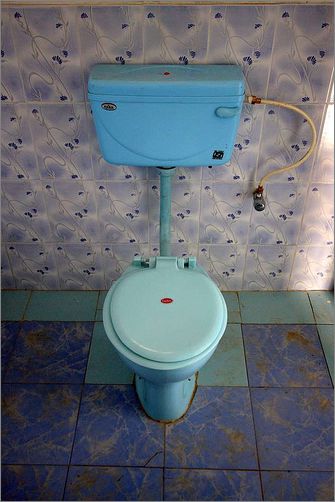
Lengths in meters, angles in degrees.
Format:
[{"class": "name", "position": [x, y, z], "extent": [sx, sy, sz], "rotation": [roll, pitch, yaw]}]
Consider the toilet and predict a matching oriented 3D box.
[{"class": "toilet", "position": [-0.040, 0.018, 1.181], "extent": [0.465, 1.016, 0.683], "rotation": [6, 32, 9]}]
